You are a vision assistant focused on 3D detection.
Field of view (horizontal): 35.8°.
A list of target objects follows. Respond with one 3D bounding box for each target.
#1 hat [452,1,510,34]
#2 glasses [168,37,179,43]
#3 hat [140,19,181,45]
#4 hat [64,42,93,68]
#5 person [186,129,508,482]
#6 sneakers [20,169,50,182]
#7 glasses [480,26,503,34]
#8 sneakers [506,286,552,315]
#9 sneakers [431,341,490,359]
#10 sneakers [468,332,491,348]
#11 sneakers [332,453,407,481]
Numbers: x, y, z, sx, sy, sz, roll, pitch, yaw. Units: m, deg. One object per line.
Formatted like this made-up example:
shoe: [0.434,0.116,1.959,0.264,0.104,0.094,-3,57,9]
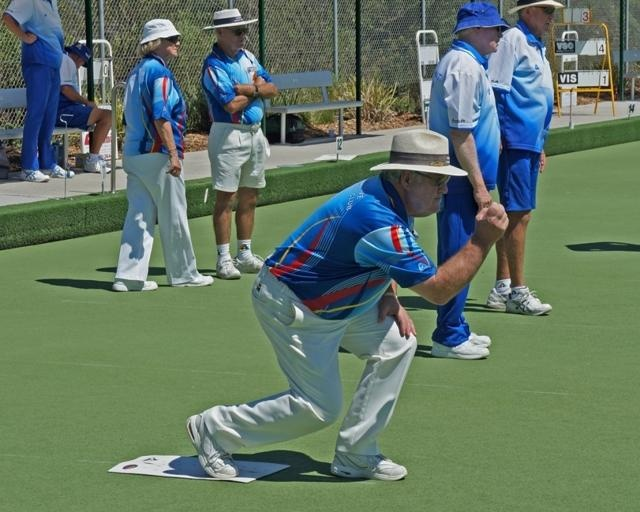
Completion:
hat: [0.992,-1.468,6.126,0.313,0.196,0.407,2,14,9]
glasses: [-1.121,-1.661,7.637,0.049,0.024,0.066,-10,-20,-10]
hat: [-1.221,-1.712,7.616,0.298,0.180,0.204,-3,14,-9]
hat: [-2.863,-2.431,11.909,0.254,0.157,0.302,31,-6,24]
person: [0.128,0.243,4.515,1.390,1.608,0.329,0,13,2]
sneakers: [-3.131,-0.885,10.963,0.337,0.155,0.132,4,20,8]
glasses: [1.035,-1.385,6.072,0.093,0.026,0.096,4,4,19]
sneakers: [1.486,0.318,7.155,0.330,0.164,0.164,4,8,26]
sneakers: [0.883,0.598,6.256,0.340,0.154,0.130,0,2,6]
sneakers: [1.020,0.531,6.309,0.139,0.052,0.081,12,19,25]
sneakers: [0.226,0.982,4.681,0.318,0.145,0.137,1,5,1]
